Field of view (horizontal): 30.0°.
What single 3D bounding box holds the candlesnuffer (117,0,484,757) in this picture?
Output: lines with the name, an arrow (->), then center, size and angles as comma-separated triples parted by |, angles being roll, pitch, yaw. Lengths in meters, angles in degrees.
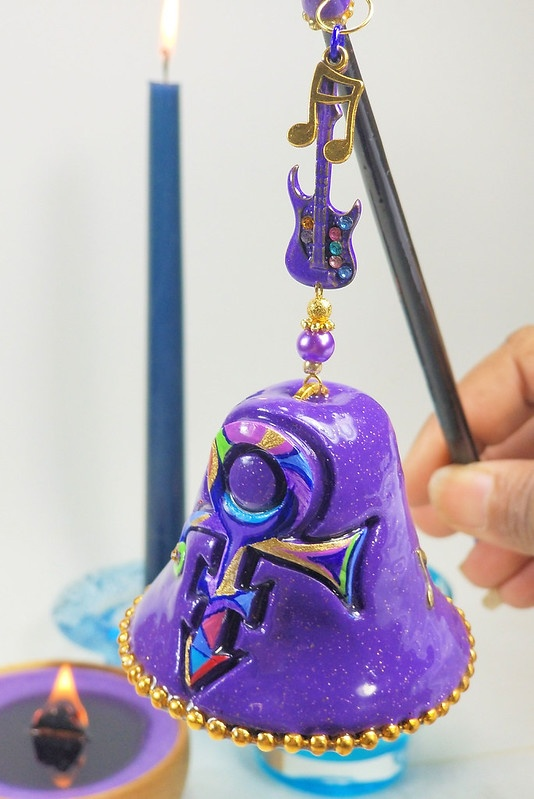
candlesnuffer -> 0.021, -0.023, 0.559 | 0.222, 0.391, 0.182 | -4, 14, -11
